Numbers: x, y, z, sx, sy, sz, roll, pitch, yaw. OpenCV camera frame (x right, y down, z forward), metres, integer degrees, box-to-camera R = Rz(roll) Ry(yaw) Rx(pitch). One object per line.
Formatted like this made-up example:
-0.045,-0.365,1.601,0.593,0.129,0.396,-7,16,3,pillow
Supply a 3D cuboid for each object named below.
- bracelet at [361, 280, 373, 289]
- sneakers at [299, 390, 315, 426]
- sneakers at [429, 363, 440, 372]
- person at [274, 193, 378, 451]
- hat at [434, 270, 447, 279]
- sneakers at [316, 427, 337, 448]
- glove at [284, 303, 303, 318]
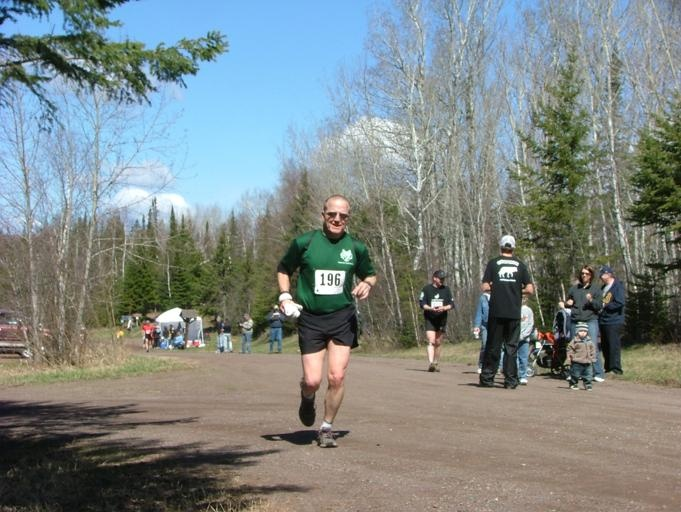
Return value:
0.330,0.352,9.091,0.049,0.074,0.210,-6,-17,10,bracelet
-0.435,2.015,9.398,0.157,0.544,0.216,2,18,3,sneakers
2.334,2.775,17.953,0.142,0.197,0.390,-1,-19,5,sneakers
-0.180,0.791,9.129,1.204,3.180,0.811,1,-5,-6,person
2.471,0.417,17.772,0.180,0.248,0.242,0,-35,-2,hat
-0.176,2.278,9.007,0.138,0.200,0.409,1,-14,-6,sneakers
-0.573,0.647,8.754,0.185,0.181,0.152,-13,23,-31,glove
